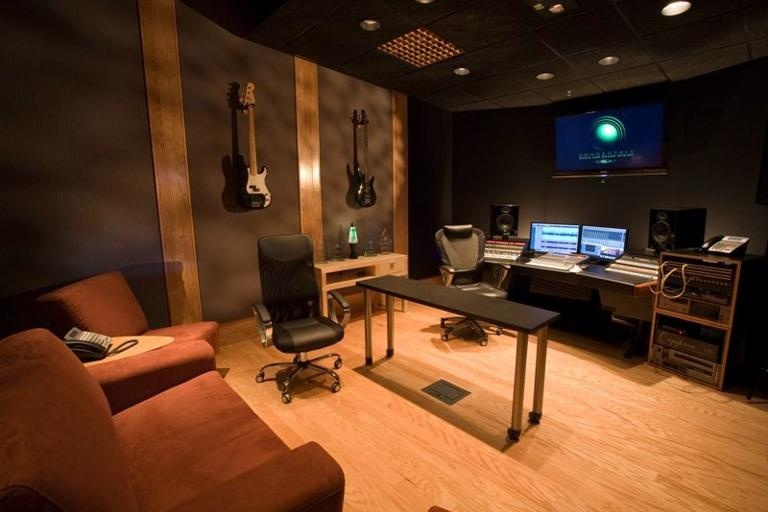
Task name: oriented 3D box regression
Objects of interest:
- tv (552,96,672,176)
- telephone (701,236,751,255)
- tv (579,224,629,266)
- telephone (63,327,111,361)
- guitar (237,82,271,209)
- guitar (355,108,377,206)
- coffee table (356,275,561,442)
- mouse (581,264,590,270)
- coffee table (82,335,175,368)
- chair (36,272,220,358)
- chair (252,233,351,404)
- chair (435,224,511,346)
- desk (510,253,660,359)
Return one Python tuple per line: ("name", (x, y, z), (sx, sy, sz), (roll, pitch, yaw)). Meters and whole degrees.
("tv", (2.946, -1.507, 6.543), (0.123, 0.757, 1.197), (-6, 6, -45))
("telephone", (3.459, -0.103, 5.233), (0.359, 0.163, 0.260), (-5, 12, -23))
("tv", (2.653, -0.112, 6.218), (0.063, 0.414, 0.442), (-5, 14, -41))
("telephone", (-2.506, 0.767, 4.391), (0.351, 0.141, 0.251), (14, 38, -19))
("guitar", (-1.529, -1.282, 6.101), (0.319, 1.448, 0.337), (-2, 12, -7))
("guitar", (-0.225, -1.329, 7.113), (0.221, 1.340, 0.445), (6, 14, 29))
("coffee table", (0.607, 0.931, 5.374), (0.690, 1.122, 2.133), (-15, 18, -27))
("mouse", (2.332, 0.124, 5.957), (0.061, 0.025, 0.111), (0, 13, 26))
("coffee table", (-2.202, 0.829, 4.519), (0.227, 0.082, 0.592), (13, 2, 27))
("chair", (-2.509, 0.512, 4.971), (1.045, 0.819, 1.001), (-3, 8, -11))
("chair", (-0.880, 0.609, 5.280), (0.996, 1.480, 0.968), (16, 23, 35))
("chair", (1.068, 0.319, 6.325), (0.848, 1.292, 0.821), (-3, 11, -14))
("desk", (2.515, 0.451, 6.018), (1.046, 0.898, 1.858), (-16, 21, -33))
